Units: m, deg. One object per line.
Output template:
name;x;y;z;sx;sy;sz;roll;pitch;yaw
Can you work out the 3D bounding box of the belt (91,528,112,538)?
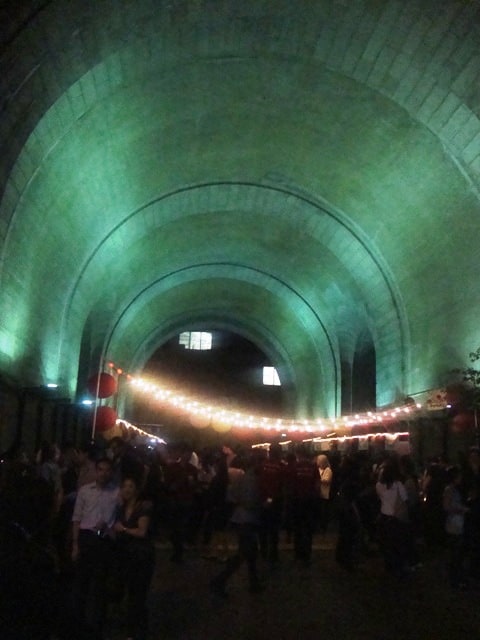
belt;-1.069;1.630;3.901;0.086;0.029;0.088;3;8;-44
